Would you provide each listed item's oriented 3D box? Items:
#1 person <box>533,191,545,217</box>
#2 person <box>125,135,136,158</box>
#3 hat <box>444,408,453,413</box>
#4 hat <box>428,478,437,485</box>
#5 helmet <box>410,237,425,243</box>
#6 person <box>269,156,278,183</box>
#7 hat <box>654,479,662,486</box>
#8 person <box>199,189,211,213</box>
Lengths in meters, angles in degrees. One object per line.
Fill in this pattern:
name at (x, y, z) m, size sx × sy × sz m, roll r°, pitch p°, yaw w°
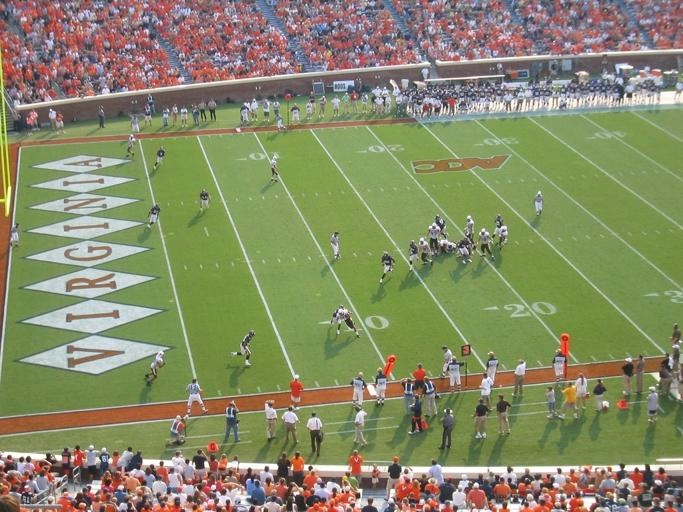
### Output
person at (7.855, -2.242, 42.448) m, size 0.371 × 0.919 × 1.371 m, roll 1°, pitch 27°, yaw 10°
person at (-9.494, -4.856, 48.041) m, size 0.583 × 0.248 × 1.052 m, roll -12°, pitch 52°, yaw 15°
hat at (3.104, 4.474, 31.120) m, size 0.192 × 0.073 × 0.190 m, roll 10°, pitch -10°, yaw 12°
hat at (2.425, 5.916, 28.275) m, size 0.201 × 0.254 × 0.131 m, roll -9°, pitch 27°, yaw -9°
helmet at (2.925, -0.585, 40.000) m, size 0.219 × 0.200 × 0.554 m, roll 24°, pitch -5°, yaw -28°
person at (-2.894, -3.611, 45.497) m, size 0.397 × 1.201 × 0.485 m, roll -35°, pitch 74°, yaw -12°
hat at (8.400, 5.962, 28.332) m, size 0.183 × 0.054 × 0.132 m, roll 10°, pitch 44°, yaw 47°
person at (-5.543, -2.309, 42.944) m, size 0.424 × 0.800 × 0.870 m, roll -7°, pitch 27°, yaw -6°
